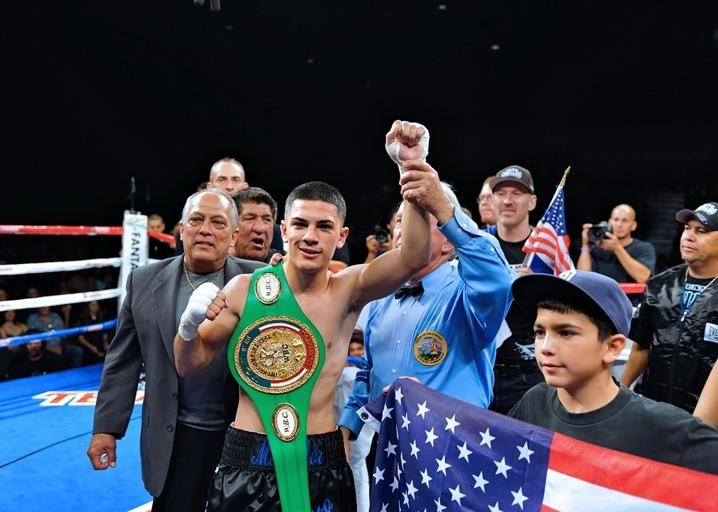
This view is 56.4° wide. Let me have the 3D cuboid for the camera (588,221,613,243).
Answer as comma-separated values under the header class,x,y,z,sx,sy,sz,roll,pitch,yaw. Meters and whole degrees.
class,x,y,z,sx,sy,sz,roll,pitch,yaw
camera,3.030,-0.292,8.345,0.241,0.170,0.273,-1,2,22
